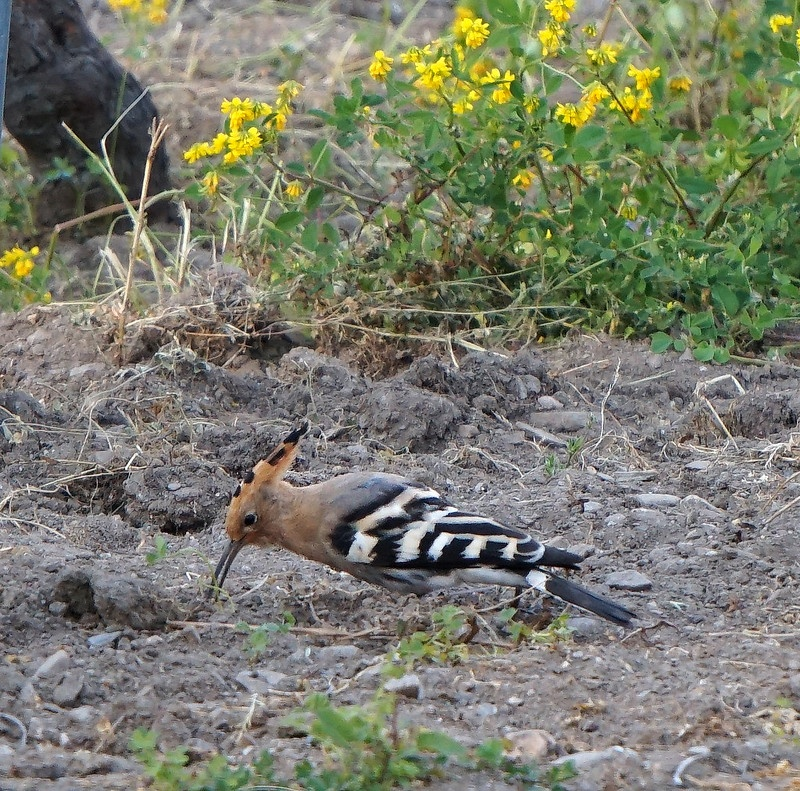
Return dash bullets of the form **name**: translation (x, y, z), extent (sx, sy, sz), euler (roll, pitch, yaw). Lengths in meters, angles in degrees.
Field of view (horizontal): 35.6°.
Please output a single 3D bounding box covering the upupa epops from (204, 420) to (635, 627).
- **upupa epops**: translation (0.052, 0.453, 3.967), extent (1.303, 0.524, 0.333), euler (-1, -2, 4)
